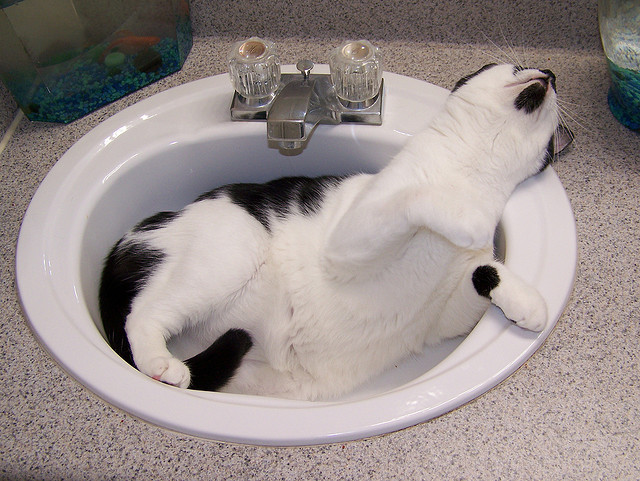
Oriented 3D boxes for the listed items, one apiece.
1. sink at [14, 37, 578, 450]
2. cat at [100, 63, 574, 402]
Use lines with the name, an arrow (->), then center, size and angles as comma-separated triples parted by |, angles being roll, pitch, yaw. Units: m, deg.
sink -> -0.101, 0.055, 1.364 | 1.072, 0.544, 0.949 | 16, 54, 13
cat -> -0.007, 0.031, 1.417 | 1.046, 0.624, 0.479 | -15, 42, 19
